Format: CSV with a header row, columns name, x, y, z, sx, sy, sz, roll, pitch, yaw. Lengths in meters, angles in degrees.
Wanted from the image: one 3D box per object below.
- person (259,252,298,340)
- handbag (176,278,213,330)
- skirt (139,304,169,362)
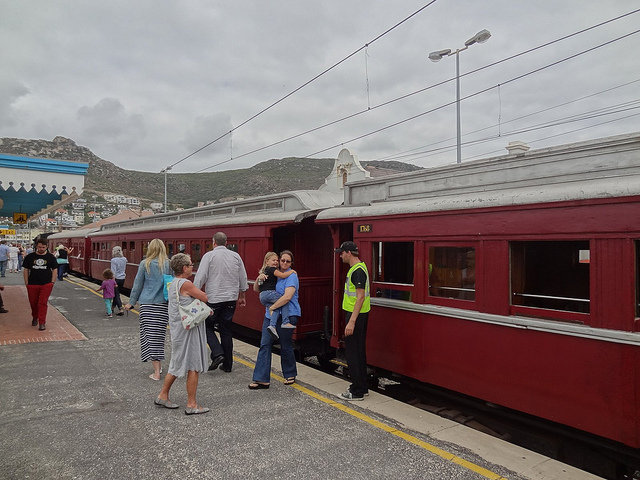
name,x,y,z,sx,sy,sz,roll,pitch,yaw
person,-0.633,0.817,7.233,0.675,1.319,0.556,-4,-13,-4
handbag,-1.707,0.823,6.047,0.245,0.640,0.495,-6,16,41
skirt,-2.672,1.487,7.377,0.423,0.964,0.258,0,5,-13
